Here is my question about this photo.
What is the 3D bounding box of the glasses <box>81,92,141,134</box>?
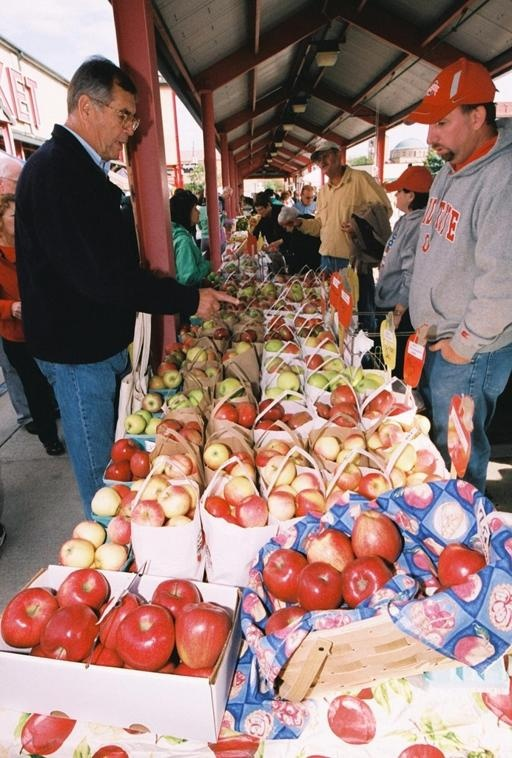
[{"bbox_3d":[-0.558,-0.998,1.936,0.183,0.184,0.153,-1,36,0],"label":"glasses"}]

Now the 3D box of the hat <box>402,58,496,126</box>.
[{"bbox_3d":[0.760,-1.118,1.973,0.296,0.256,0.264,4,17,21],"label":"hat"}]

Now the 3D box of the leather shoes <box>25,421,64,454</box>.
[{"bbox_3d":[-1.606,0.455,3.845,0.129,0.382,0.156,-43,18,-24],"label":"leather shoes"}]
